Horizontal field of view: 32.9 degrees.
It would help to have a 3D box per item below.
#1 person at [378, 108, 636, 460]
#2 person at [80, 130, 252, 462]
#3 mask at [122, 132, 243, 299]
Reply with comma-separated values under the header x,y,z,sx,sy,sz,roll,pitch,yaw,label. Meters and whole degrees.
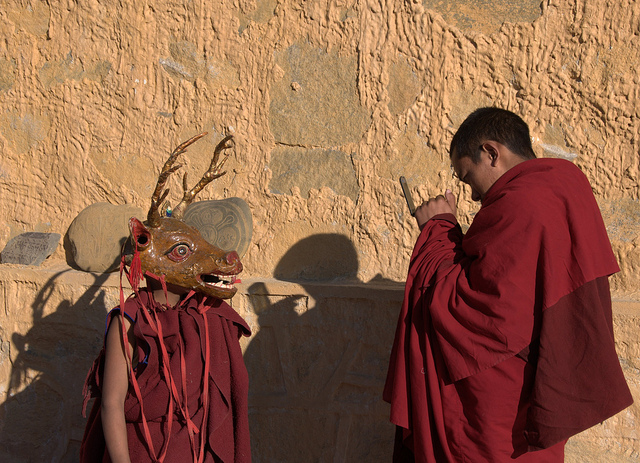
x,y,z,sx,sy,sz,roll,pitch,yaw,label
0.922,0.261,5.201,1.130,1.615,0.637,4,-22,5,person
-0.632,0.341,5.091,0.786,1.453,0.585,10,-22,-12,person
-0.633,-0.089,5.092,0.511,0.691,0.493,1,-23,12,mask
